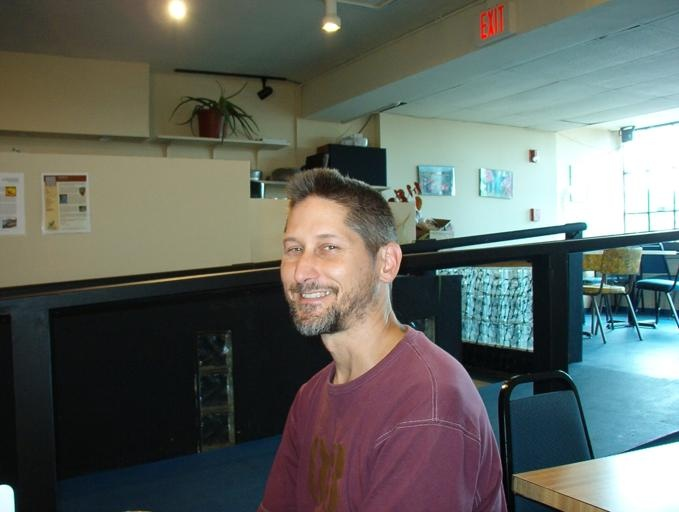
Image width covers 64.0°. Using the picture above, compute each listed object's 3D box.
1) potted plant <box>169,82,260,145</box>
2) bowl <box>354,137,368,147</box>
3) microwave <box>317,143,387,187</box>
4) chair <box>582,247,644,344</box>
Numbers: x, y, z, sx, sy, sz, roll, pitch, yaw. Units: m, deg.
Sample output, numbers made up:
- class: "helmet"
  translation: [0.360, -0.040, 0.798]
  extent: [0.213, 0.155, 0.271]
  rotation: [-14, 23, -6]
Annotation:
- class: "potted plant"
  translation: [-1.329, -1.591, 5.876]
  extent: [0.755, 0.507, 0.832]
  rotation: [2, 1, -28]
- class: "bowl"
  translation: [0.274, -1.383, 6.588]
  extent: [0.124, 0.135, 0.130]
  rotation: [0, 1, 0]
- class: "microwave"
  translation: [0.242, -1.095, 6.669]
  extent: [0.659, 0.467, 0.349]
  rotation: [-6, 8, -42]
- class: "chair"
  translation: [3.025, 0.416, 6.165]
  extent: [0.668, 0.982, 0.720]
  rotation: [-3, 3, -18]
